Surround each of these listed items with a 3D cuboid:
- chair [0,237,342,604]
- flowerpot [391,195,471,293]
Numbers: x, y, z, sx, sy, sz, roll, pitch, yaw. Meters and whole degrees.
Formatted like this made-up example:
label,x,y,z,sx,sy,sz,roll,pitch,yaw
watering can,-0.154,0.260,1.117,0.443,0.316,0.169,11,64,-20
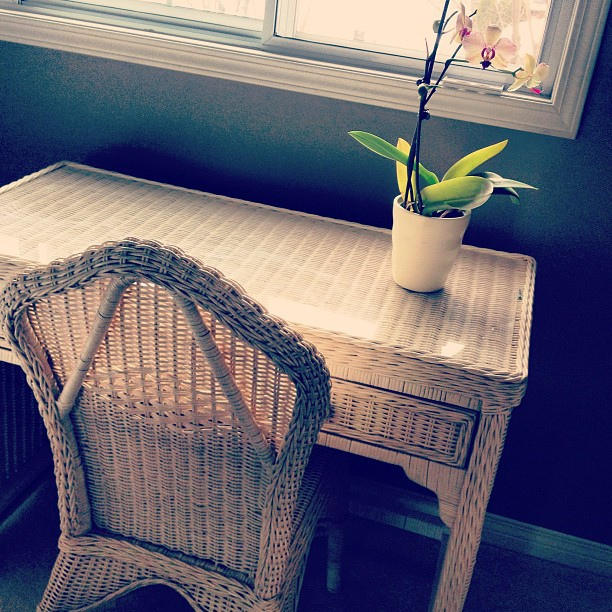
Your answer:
label,x,y,z,sx,sy,sz,roll,pitch,yaw
chair,-0.215,0.242,0.978,0.497,0.784,0.202,8,36,2
flowerpot,0.223,-0.100,1.199,0.161,0.136,0.137,1,9,-5
